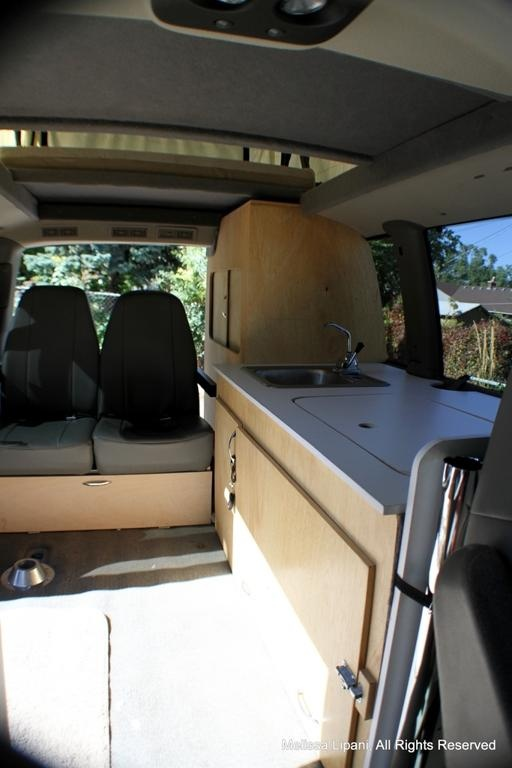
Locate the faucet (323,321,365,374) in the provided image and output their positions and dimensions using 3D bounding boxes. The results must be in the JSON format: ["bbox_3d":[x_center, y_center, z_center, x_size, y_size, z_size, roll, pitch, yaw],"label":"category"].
[{"bbox_3d":[0.415,-0.184,2.310,0.165,0.283,0.641,0,0,11],"label":"faucet"}]

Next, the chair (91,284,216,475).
[{"bbox_3d":[-0.531,-0.046,2.519,0.570,0.960,0.506,0,0,-15],"label":"chair"}]
